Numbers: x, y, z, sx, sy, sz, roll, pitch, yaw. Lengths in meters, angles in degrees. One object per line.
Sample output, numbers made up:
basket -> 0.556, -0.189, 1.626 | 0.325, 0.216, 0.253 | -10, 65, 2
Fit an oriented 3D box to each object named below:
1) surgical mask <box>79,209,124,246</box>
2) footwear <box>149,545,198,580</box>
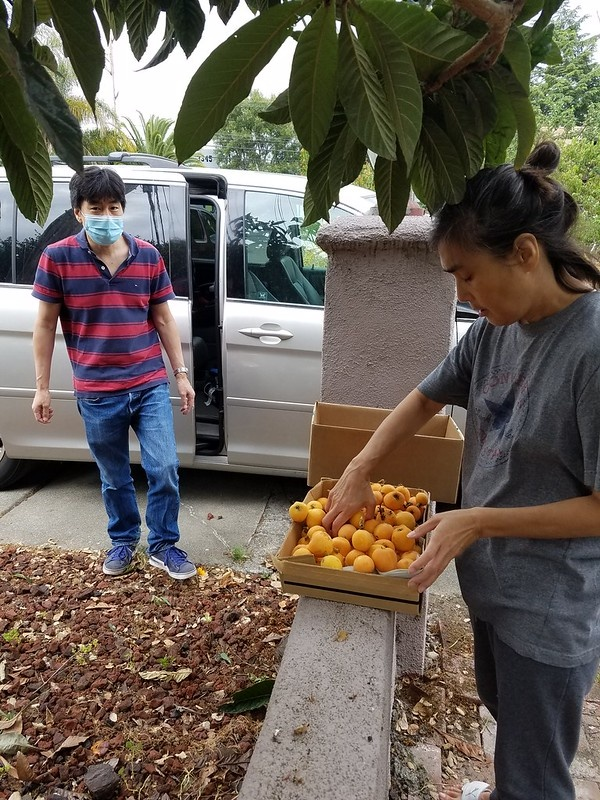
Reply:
surgical mask -> -0.966, -0.865, 2.917 | 0.153, 0.122, 0.155 | -15, 37, -28
footwear -> -0.694, 0.877, 3.225 | 0.316, 0.124, 0.116 | -1, 9, 45
